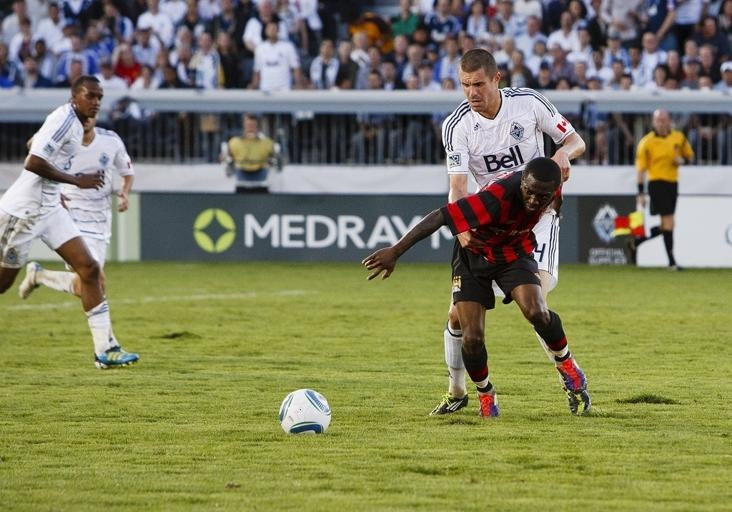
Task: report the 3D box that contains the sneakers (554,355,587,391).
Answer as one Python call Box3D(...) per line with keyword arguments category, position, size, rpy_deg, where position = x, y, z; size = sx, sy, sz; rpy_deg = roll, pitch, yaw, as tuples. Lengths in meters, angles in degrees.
Box3D(category="sneakers", position=(1.890, 1.071, 13.214), size=(0.217, 0.351, 0.155), rpy_deg=(-29, -5, 8))

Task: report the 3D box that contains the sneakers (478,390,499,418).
Box3D(category="sneakers", position=(1.121, 1.361, 13.069), size=(0.115, 0.321, 0.134), rpy_deg=(-7, -19, 13))

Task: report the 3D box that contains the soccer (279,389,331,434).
Box3D(category="soccer", position=(-0.541, 1.401, 12.732), size=(0.397, 0.410, 0.383), rpy_deg=(-2, 1, -10))

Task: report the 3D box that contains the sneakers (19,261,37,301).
Box3D(category="sneakers", position=(-3.951, 0.313, 16.667), size=(0.165, 0.455, 0.209), rpy_deg=(34, 33, 15))

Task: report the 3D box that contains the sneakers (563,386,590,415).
Box3D(category="sneakers", position=(1.933, 1.326, 13.134), size=(0.227, 0.333, 0.121), rpy_deg=(-3, 2, 13))

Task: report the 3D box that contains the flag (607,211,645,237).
Box3D(category="flag", position=(2.597, -0.297, 14.170), size=(0.330, 0.248, 0.282), rpy_deg=(0, 12, 9))

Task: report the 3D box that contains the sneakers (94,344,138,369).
Box3D(category="sneakers", position=(-2.525, 1.004, 14.511), size=(0.488, 0.265, 0.193), rpy_deg=(-5, 16, 1))
